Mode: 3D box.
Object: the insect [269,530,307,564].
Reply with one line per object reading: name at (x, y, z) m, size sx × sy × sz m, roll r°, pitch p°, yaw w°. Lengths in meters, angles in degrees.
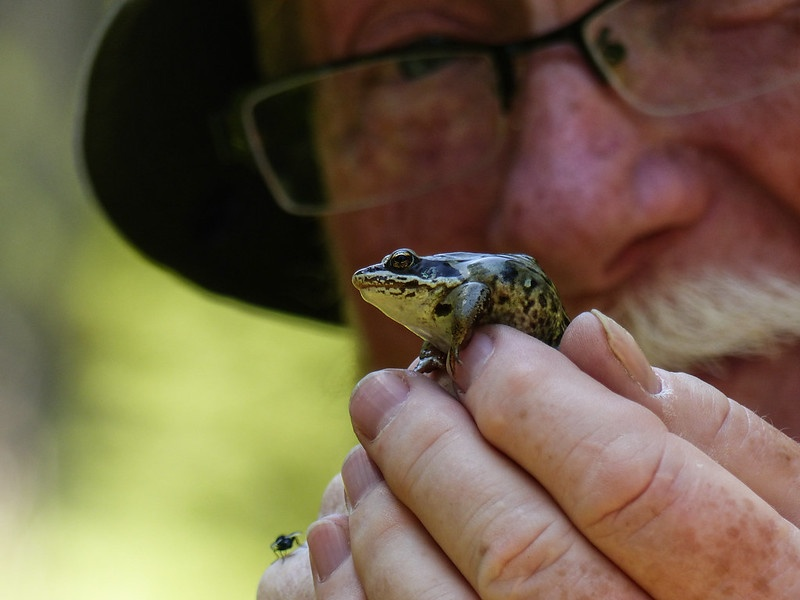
insect at (-0.529, 1.157, 4.137) m, size 0.182 × 0.130 × 0.067 m, roll 7°, pitch -60°, yaw 48°
